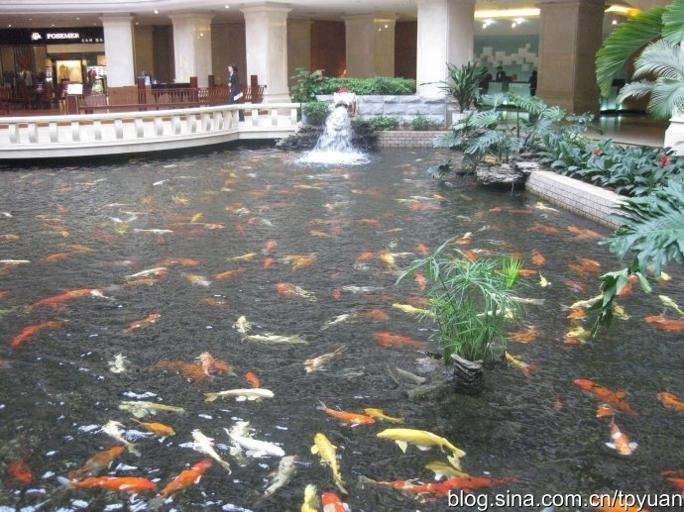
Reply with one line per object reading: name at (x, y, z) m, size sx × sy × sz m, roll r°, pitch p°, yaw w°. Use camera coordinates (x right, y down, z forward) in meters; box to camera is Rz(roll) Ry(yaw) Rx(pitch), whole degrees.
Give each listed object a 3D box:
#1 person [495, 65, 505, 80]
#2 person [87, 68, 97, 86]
person at (6.824, -7.807, 20.312) m, size 0.318 × 0.691 × 1.182 m, roll 0°, pitch 14°, yaw 16°
person at (-15.097, -10.910, 28.731) m, size 0.627 × 0.959 × 0.297 m, roll -1°, pitch 16°, yaw 12°
